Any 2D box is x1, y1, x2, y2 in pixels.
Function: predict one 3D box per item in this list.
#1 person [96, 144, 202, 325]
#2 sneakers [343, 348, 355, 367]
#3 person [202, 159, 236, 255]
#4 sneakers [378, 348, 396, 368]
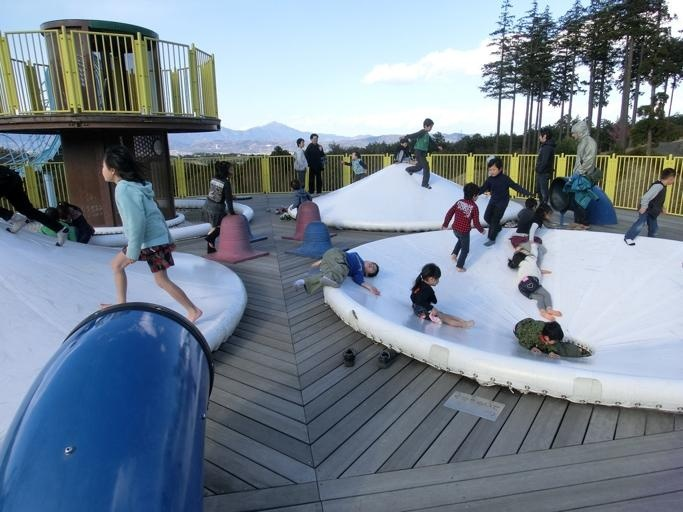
[{"bbox_3d":[-1.980,-0.142,3.794,0.748,1.945,0.491,-13,17,-34],"label":"person"},{"bbox_3d":[0.105,1.104,4.055,0.139,0.127,0.249,13,-24,9],"label":"sneakers"},{"bbox_3d":[-2.502,-1.008,7.550,0.680,1.787,0.742,-8,15,-17],"label":"person"},{"bbox_3d":[0.495,1.105,4.076,0.088,0.114,0.276,7,23,25],"label":"sneakers"}]
